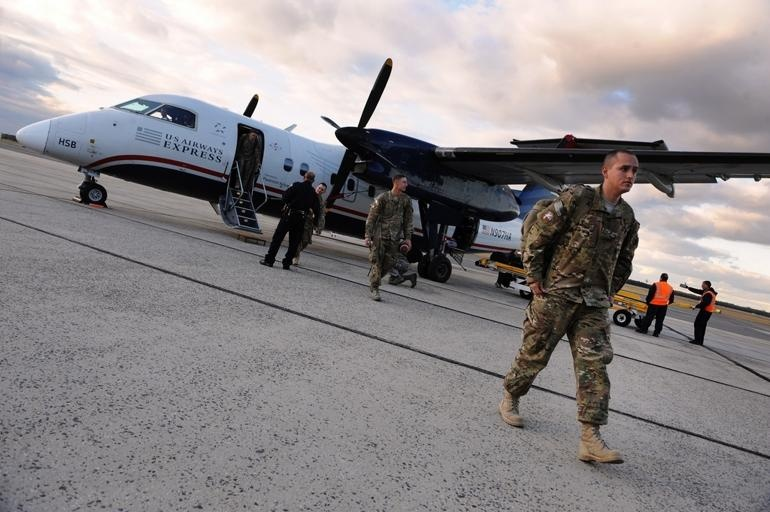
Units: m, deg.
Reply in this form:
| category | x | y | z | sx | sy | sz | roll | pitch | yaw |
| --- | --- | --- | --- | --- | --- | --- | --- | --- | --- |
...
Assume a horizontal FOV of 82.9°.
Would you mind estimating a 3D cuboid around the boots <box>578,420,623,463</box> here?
| category | x | y | z | sx | sy | sz | roll | pitch | yaw |
| --- | --- | --- | --- | --- | --- | --- | --- | --- | --- |
| boots | 1.656 | 1.475 | 3.444 | 0.399 | 0.247 | 0.144 | 15 | -4 | -5 |

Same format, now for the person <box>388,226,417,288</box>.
| category | x | y | z | sx | sy | sz | roll | pitch | yaw |
| --- | --- | --- | --- | --- | --- | --- | --- | --- | --- |
| person | 0.348 | 0.151 | 9.981 | 0.841 | 1.066 | 0.388 | 12 | -22 | -14 |

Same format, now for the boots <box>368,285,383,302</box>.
| category | x | y | z | sx | sy | sz | roll | pitch | yaw |
| --- | --- | --- | --- | --- | --- | --- | --- | --- | --- |
| boots | -0.140 | 0.616 | 7.324 | 0.246 | 0.220 | 0.364 | 14 | 4 | 1 |

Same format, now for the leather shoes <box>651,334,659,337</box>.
| category | x | y | z | sx | sy | sz | roll | pitch | yaw |
| --- | --- | --- | --- | --- | --- | --- | --- | --- | --- |
| leather shoes | 7.255 | 2.112 | 11.699 | 0.173 | 0.056 | 0.122 | 3 | 2 | 34 |

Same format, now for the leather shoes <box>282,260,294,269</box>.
| category | x | y | z | sx | sy | sz | roll | pitch | yaw |
| --- | --- | --- | --- | --- | --- | --- | --- | --- | --- |
| leather shoes | -1.876 | 0.158 | 8.402 | 0.187 | 0.140 | 0.201 | -1 | -8 | 35 |

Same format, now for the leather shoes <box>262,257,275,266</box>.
| category | x | y | z | sx | sy | sz | roll | pitch | yaw |
| --- | --- | --- | --- | --- | --- | --- | --- | --- | --- |
| leather shoes | -2.213 | 0.083 | 8.224 | 0.253 | 0.149 | 0.245 | 13 | 4 | -17 |

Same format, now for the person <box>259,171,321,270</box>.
| category | x | y | z | sx | sy | sz | roll | pitch | yaw |
| --- | --- | --- | --- | --- | --- | --- | --- | --- | --- |
| person | -1.811 | -0.815 | 8.802 | 0.704 | 1.752 | 1.531 | 16 | 3 | -8 |

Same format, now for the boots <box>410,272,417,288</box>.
| category | x | y | z | sx | sy | sz | roll | pitch | yaw |
| --- | --- | --- | --- | --- | --- | --- | --- | --- | --- |
| boots | 0.641 | 0.516 | 9.720 | 0.132 | 0.345 | 0.164 | 6 | -10 | 4 |
